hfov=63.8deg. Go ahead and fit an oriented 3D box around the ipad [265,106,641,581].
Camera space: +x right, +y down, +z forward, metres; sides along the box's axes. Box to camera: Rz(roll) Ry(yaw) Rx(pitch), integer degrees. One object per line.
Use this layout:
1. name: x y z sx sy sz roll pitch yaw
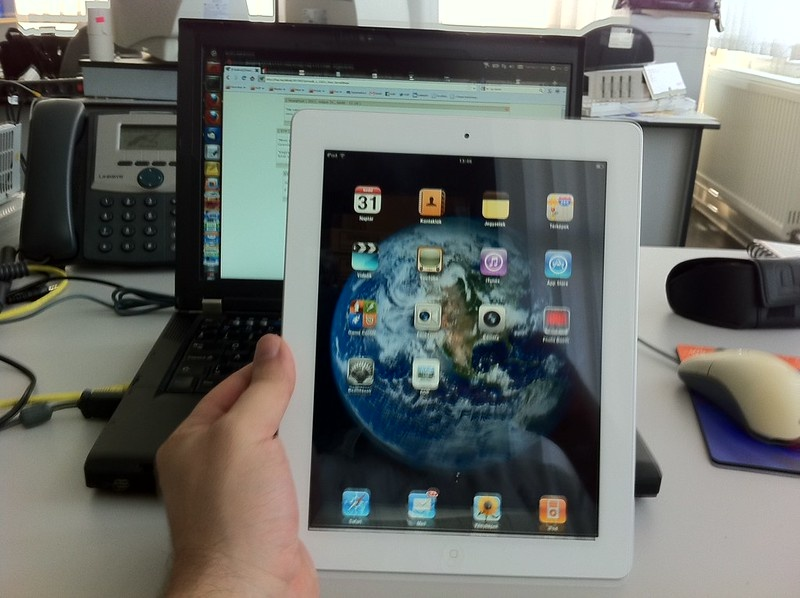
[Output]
1. ipad: 0.058 0.061 0.654 0.388 0.041 0.597 0 90 -2
